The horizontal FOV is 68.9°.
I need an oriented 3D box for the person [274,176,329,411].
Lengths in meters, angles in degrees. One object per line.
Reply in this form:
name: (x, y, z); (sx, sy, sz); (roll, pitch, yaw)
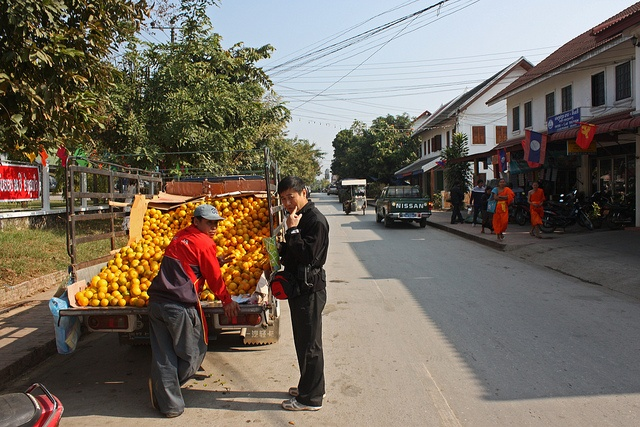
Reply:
person: (-0.215, 1.032, 6.159); (0.654, 3.014, 0.804); (-2, 11, -1)

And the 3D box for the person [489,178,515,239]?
person: (6.080, -0.151, 15.480); (0.578, 2.088, 1.011); (2, 11, 21)

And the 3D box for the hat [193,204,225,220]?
hat: (-1.501, -0.028, 6.215); (0.263, 0.151, 0.204); (0, -1, 24)

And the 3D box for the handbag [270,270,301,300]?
handbag: (-0.445, 0.929, 6.019); (0.364, 0.405, 0.282); (-3, -9, -2)

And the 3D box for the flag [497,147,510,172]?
flag: (7.986, -2.371, 20.250); (0.299, 1.030, 0.716); (0, 11, 8)

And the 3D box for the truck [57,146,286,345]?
truck: (-2.115, 1.148, 8.335); (2.544, 2.619, 4.171); (0, 7, 1)

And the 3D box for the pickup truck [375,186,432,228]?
pickup truck: (3.767, -0.442, 21.840); (1.321, 1.258, 2.660); (0, 7, -1)

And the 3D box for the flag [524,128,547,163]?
flag: (8.153, -2.578, 17.595); (0.352, 1.253, 1.126); (-4, 11, -12)

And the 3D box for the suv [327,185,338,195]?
suv: (2.086, -3.986, 78.939); (1.170, 1.140, 2.558); (1, 9, 4)
